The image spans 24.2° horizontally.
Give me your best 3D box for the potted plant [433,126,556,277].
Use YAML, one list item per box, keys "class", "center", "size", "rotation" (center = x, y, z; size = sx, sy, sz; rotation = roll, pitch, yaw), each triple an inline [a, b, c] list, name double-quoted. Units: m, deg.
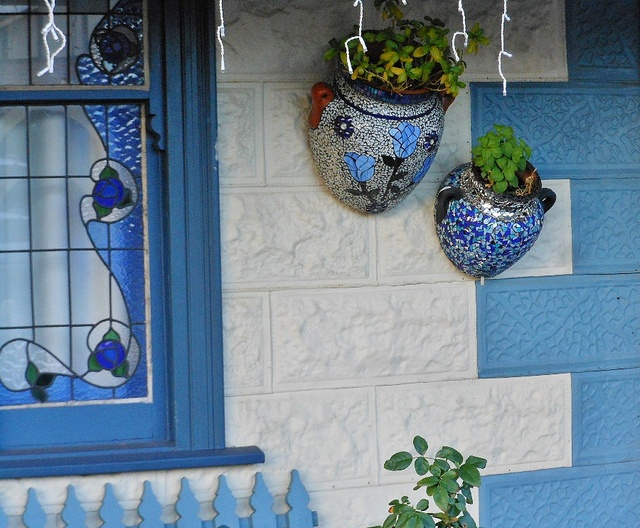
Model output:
- class: "potted plant"
  center: [0.561, -0.174, 4.772]
  size: [0.414, 0.447, 0.324]
  rotation: [1, 39, -19]
